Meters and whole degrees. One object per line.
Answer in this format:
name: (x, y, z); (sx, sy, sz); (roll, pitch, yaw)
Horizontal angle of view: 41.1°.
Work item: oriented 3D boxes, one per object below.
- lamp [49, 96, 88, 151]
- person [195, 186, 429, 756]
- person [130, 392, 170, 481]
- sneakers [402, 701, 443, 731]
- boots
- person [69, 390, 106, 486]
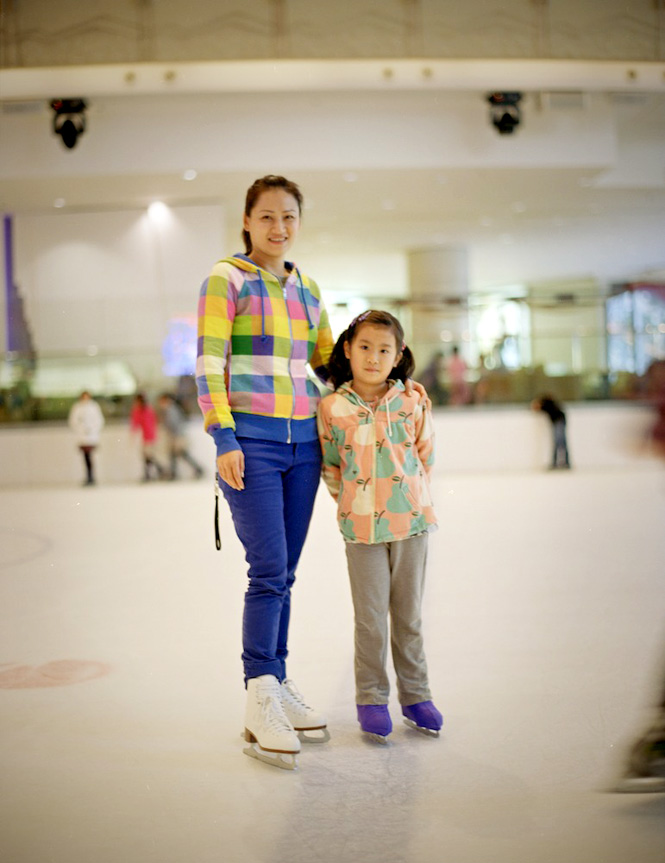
lamp: (-0.778, -0.925, 2.628); (0.145, 0.163, 0.049); (-1, 8, -4)
person: (-0.157, 0.048, 2.168); (0.324, 1.356, 0.557); (-2, 6, 0)
person: (-1.527, 0.029, 7.385); (0.256, 0.702, 0.464); (-4, 6, -14)
sneakers: (0.226, 0.688, 2.141); (0.050, 0.060, 0.134); (-5, 6, -28)
boots: (-0.106, 0.666, 2.079); (0.099, 0.115, 0.277); (-9, -12, -24)
person: (-1.766, 0.053, 6.484); (0.191, 0.647, 1.220); (-4, 5, -13)
